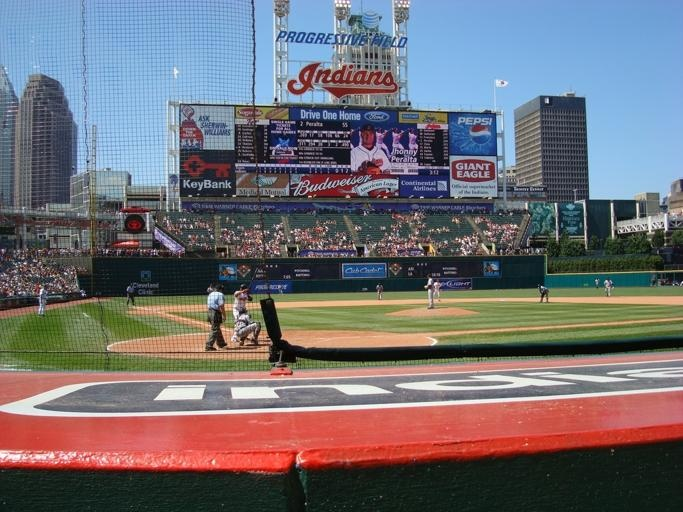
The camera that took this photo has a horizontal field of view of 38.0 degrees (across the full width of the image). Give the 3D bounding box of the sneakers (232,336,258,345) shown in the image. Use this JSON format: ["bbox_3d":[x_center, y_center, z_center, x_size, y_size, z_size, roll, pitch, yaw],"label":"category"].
[{"bbox_3d":[-2.186,1.923,22.242,0.514,0.207,0.135,-16,12,-12],"label":"sneakers"}]

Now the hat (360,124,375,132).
[{"bbox_3d":[1.487,-7.339,56.788,0.457,0.266,0.449,-7,11,-44],"label":"hat"}]

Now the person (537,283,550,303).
[{"bbox_3d":[8.996,1.717,44.417,0.632,0.950,0.691,-3,4,-4],"label":"person"}]

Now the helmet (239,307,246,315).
[{"bbox_3d":[-2.227,1.256,22.268,0.195,0.175,0.103,-1,-20,0],"label":"helmet"}]

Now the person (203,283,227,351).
[{"bbox_3d":[-2.756,1.362,21.560,0.459,1.394,2.032,-1,1,-6],"label":"person"}]

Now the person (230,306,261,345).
[{"bbox_3d":[-2.163,1.619,22.250,0.591,0.820,1.250,-1,1,-7],"label":"person"}]
